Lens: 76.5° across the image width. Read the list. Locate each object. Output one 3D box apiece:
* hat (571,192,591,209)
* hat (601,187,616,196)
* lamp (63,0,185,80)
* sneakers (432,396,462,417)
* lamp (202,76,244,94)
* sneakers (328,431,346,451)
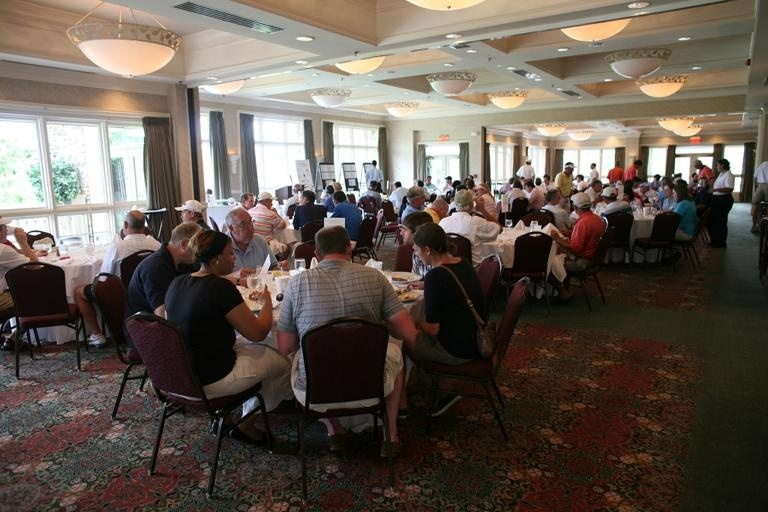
[{"bbox_3d":[2.852,-0.810,7.006,0.262,0.179,0.350,-9,19,4],"label":"hat"},{"bbox_3d":[4.422,-1.275,9.546,0.247,0.153,0.326,-5,-3,18],"label":"hat"},{"bbox_3d":[-3.000,-2.463,5.707,1.156,0.536,0.444,-9,14,-25],"label":"lamp"},{"bbox_3d":[0.525,1.274,4.113,0.292,0.102,0.103,-29,-16,-16],"label":"sneakers"},{"bbox_3d":[-2.926,-3.193,9.175,0.492,0.207,0.473,4,14,16],"label":"lamp"},{"bbox_3d":[-0.366,1.439,3.834,0.147,0.145,0.152,-5,13,-6],"label":"sneakers"}]
